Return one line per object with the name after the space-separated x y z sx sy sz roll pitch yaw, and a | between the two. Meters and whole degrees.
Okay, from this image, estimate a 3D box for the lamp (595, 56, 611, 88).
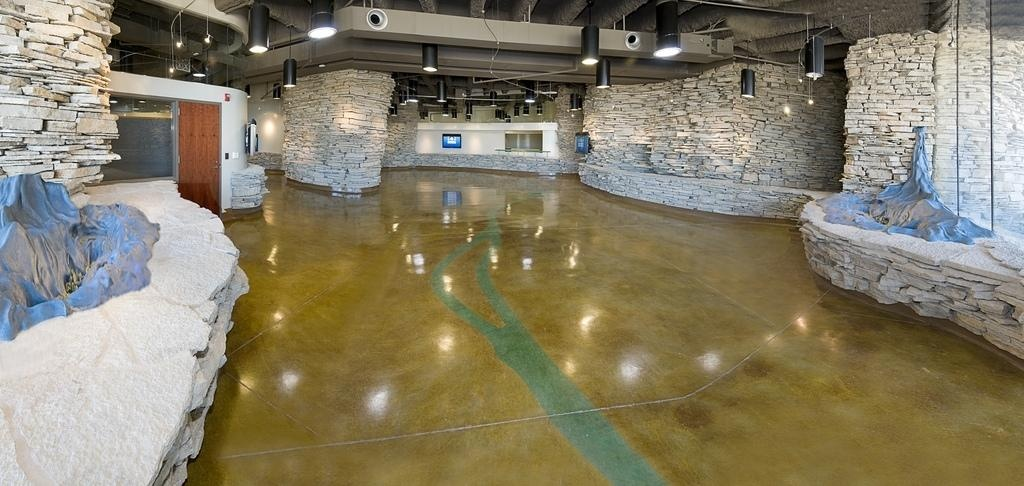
2.415 -4.549 13.106 0.328 0.698 0.416 5 17 1 | lamp

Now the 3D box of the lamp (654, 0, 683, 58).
3.372 -4.663 10.646 0.433 1.147 0.631 4 17 -3 | lamp

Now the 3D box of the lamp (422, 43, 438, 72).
-2.111 -4.864 12.875 0.289 0.630 0.292 -5 20 -32 | lamp
